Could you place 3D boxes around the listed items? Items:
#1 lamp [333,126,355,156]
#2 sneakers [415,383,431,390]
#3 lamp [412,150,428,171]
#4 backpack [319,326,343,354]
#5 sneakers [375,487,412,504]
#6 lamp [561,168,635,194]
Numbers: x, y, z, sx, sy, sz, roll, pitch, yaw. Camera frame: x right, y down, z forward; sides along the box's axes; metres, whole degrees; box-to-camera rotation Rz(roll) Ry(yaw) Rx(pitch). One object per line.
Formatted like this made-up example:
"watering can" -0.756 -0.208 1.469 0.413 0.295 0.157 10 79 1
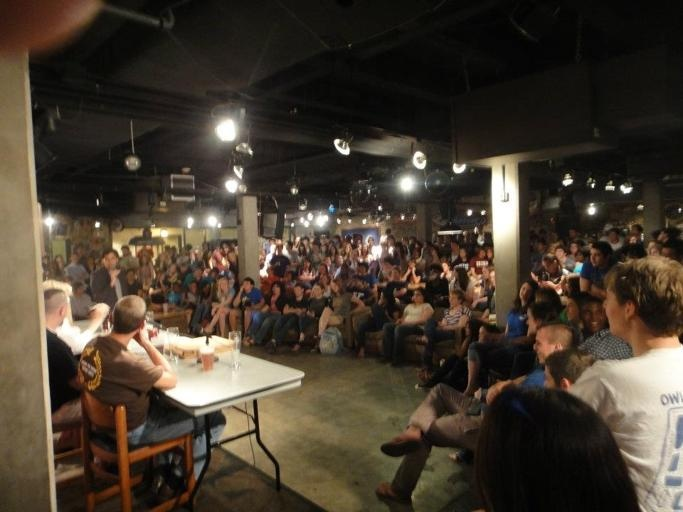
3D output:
"lamp" 0.000 -1.422 6.576 0.221 0.329 0.107 -11 12 -27
"sneakers" 0.895 1.459 5.741 0.166 0.080 0.056 -12 -6 4
"lamp" 1.127 -1.383 7.586 0.105 0.270 0.256 -1 -19 45
"backpack" -0.141 1.193 7.212 0.291 0.327 0.326 0 -10 -4
"sneakers" 0.362 1.687 3.663 0.238 0.125 0.094 2 0 21
"lamp" 5.554 -1.601 11.260 1.564 0.619 0.319 8 4 -3
